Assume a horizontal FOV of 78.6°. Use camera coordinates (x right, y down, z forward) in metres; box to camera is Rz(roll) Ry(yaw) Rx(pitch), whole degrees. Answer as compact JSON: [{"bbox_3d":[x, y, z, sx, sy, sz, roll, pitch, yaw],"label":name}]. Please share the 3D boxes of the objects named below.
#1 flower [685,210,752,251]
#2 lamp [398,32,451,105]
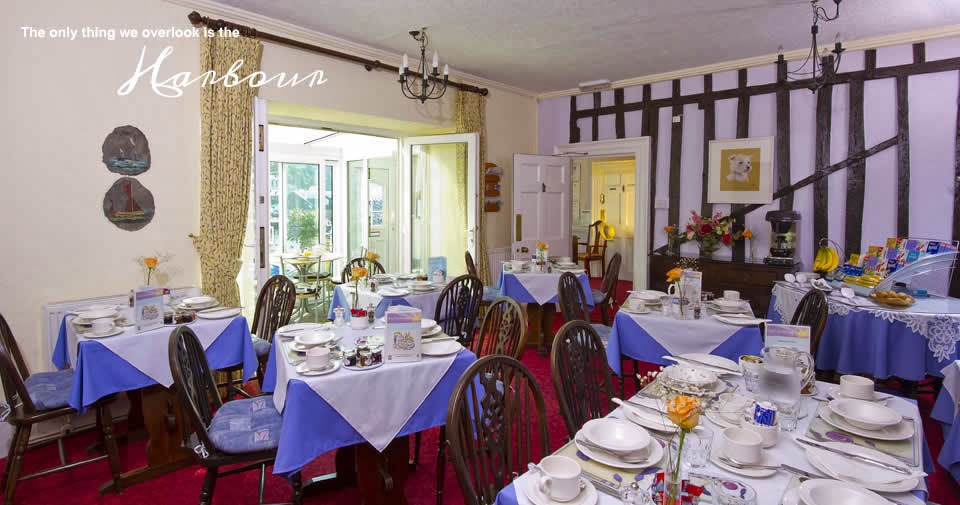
[{"bbox_3d":[3.577,-0.234,9.099,0.829,0.488,0.657,1,6,12],"label":"flower"},{"bbox_3d":[-0.803,-2.637,8.317,0.781,0.910,0.728,5,15,20],"label":"lamp"}]
